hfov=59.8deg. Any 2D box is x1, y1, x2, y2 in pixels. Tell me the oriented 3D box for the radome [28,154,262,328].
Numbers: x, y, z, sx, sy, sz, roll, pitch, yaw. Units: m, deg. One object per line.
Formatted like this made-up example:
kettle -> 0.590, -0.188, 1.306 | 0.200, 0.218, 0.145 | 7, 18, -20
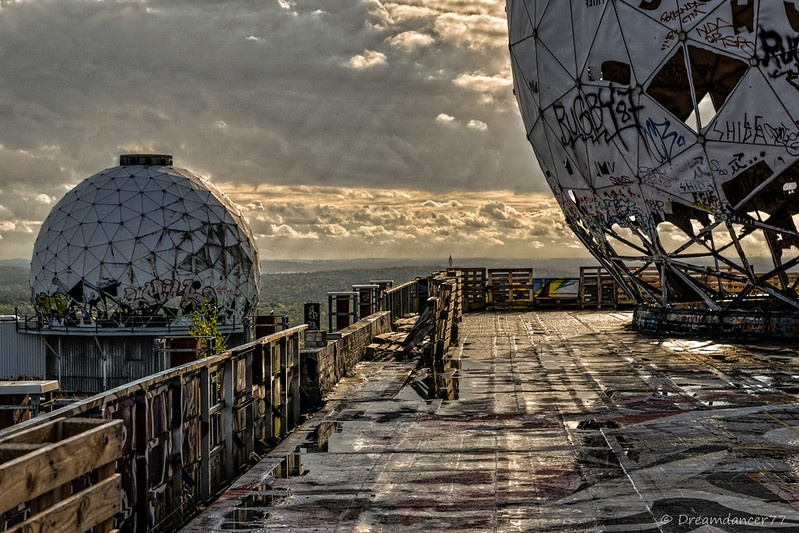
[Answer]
radome -> -16.734, -2.199, 47.865 | 15.452, 10.295, 14.912 | -2, 0, -5
